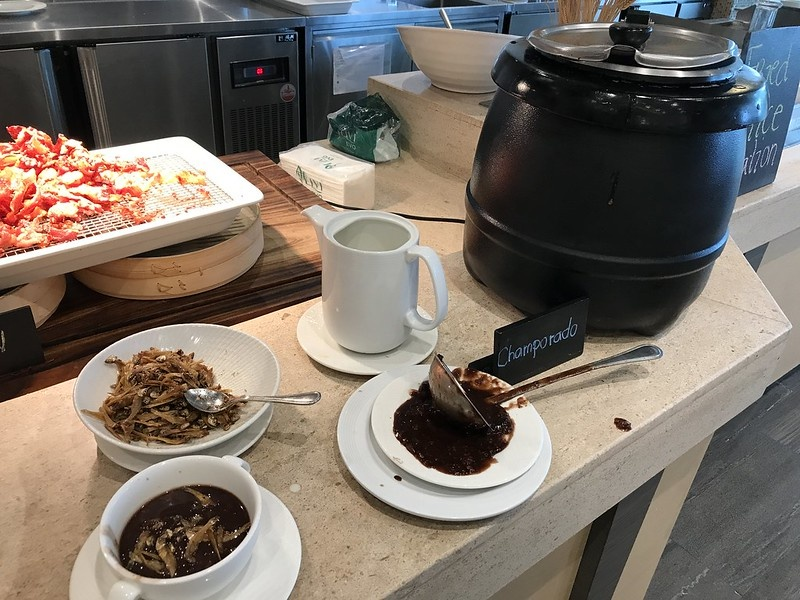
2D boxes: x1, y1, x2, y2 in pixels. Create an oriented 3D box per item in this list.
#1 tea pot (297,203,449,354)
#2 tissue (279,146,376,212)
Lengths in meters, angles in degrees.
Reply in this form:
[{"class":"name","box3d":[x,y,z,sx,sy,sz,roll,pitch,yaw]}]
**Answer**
[{"class":"tea pot","box3d":[-0.038,-0.028,0.878,0.202,0.173,0.151,-1,37,-5]},{"class":"tissue","box3d":[-0.148,-0.305,1.364,0.147,0.090,0.312,-28,47,-34]}]
